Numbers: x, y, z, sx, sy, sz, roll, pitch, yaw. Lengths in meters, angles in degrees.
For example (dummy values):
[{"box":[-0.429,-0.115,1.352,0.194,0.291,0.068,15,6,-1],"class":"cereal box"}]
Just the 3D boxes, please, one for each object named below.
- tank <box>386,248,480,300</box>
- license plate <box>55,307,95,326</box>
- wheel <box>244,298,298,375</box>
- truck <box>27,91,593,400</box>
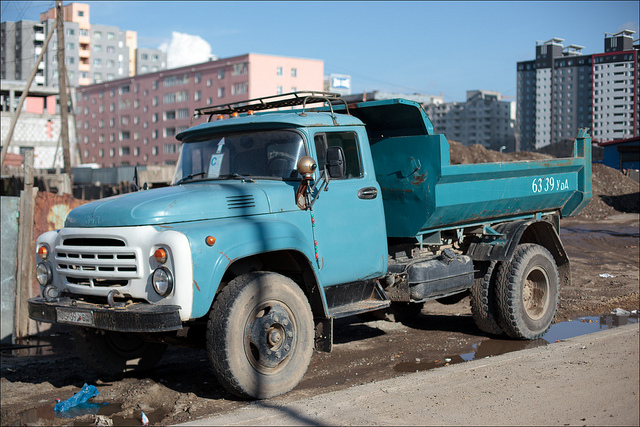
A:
[{"box":[1.844,0.998,11.277,1.584,0.780,1.049,-5,5,-42],"class":"tank"},{"box":[-3.247,1.372,8.762,0.672,0.216,0.035,2,7,26],"class":"license plate"},{"box":[-0.706,1.685,9.036,1.010,1.280,0.490,2,-4,-41],"class":"wheel"},{"box":[0.616,0.320,12.070,4.773,4.438,10.517,-3,0,42],"class":"truck"}]
